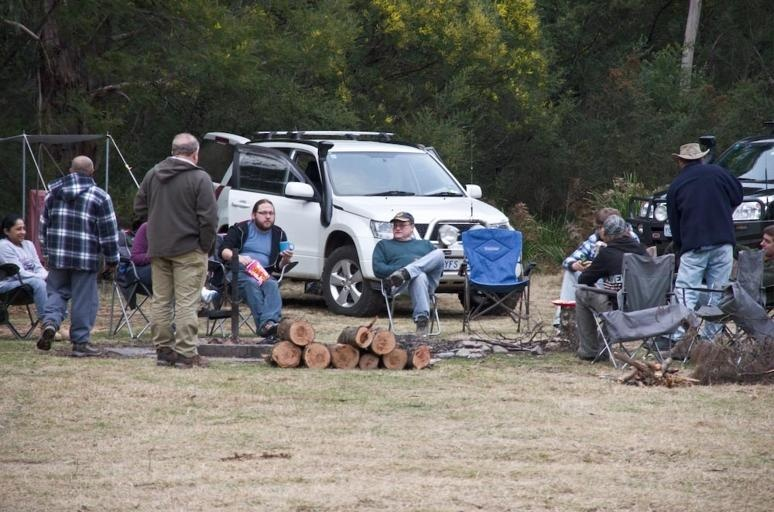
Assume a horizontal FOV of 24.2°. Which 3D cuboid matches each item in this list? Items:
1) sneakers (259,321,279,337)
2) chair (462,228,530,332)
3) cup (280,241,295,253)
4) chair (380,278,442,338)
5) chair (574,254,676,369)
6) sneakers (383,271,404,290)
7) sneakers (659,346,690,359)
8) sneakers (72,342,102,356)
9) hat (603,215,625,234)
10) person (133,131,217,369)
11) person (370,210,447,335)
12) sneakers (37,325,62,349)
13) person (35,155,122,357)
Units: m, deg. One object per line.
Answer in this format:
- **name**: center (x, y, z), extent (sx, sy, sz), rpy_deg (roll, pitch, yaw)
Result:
- **sneakers**: center (-1.795, 1.097, 26.882), extent (0.283, 0.249, 0.228), rpy_deg (0, -2, -4)
- **chair**: center (1.737, 0.389, 28.889), extent (1.064, 1.647, 1.871), rpy_deg (0, -2, 2)
- **cup**: center (-1.533, -0.132, 27.220), extent (0.200, 0.144, 0.131), rpy_deg (1, -1, 2)
- **chair**: center (0.425, 0.676, 28.345), extent (0.809, 1.204, 0.937), rpy_deg (-2, -5, 10)
- **chair**: center (3.384, 0.756, 26.789), extent (1.667, 1.984, 1.450), rpy_deg (-1, 3, -38)
- **sneakers**: center (0.110, 0.369, 27.952), extent (0.323, 0.195, 0.144), rpy_deg (-7, 10, 46)
- **sneakers**: center (4.275, 1.429, 26.411), extent (0.279, 0.139, 0.181), rpy_deg (2, 1, 11)
- **sneakers**: center (-4.434, 1.382, 26.419), extent (0.465, 0.247, 0.173), rpy_deg (0, 1, -9)
- **hat**: center (3.399, -0.449, 26.695), extent (0.224, 0.300, 0.298), rpy_deg (-14, -49, 37)
- **person**: center (-2.992, -0.029, 26.160), extent (1.231, 3.292, 1.090), rpy_deg (1, -1, 33)
- **person**: center (0.300, 0.276, 28.142), extent (1.092, 1.926, 0.839), rpy_deg (-1, -3, 17)
- **sneakers**: center (-5.011, 1.221, 26.459), extent (0.183, 0.198, 0.462), rpy_deg (15, -48, -13)
- **person**: center (-4.565, 0.003, 26.533), extent (1.105, 2.931, 0.534), rpy_deg (1, -3, -12)
